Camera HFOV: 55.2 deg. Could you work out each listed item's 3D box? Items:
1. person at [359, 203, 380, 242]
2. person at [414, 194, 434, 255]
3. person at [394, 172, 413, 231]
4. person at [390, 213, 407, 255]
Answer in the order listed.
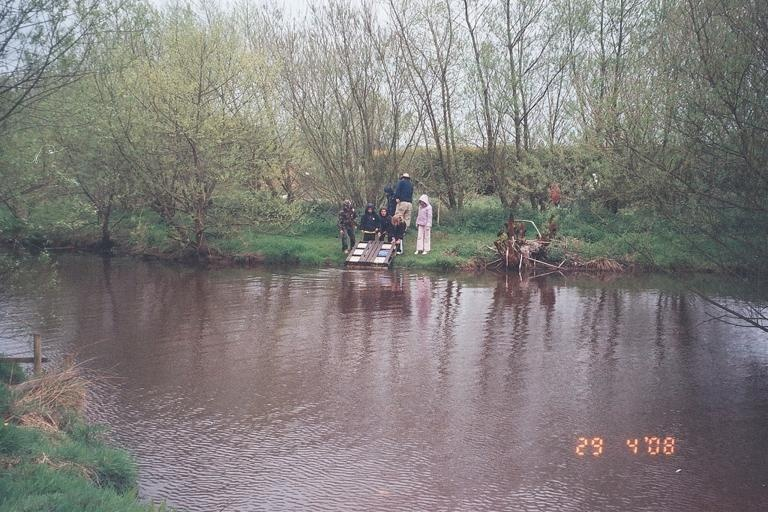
[{"bbox_3d":[-0.530,-1.368,29.651,0.722,1.534,0.935,-3,14,-14],"label":"person"},{"bbox_3d":[1.553,-1.322,29.272,0.608,2.293,1.376,1,13,2],"label":"person"},{"bbox_3d":[0.761,-2.170,29.624,0.761,2.487,0.708,8,-3,-33],"label":"person"},{"bbox_3d":[0.563,-0.867,29.117,0.635,1.620,1.343,0,14,0],"label":"person"}]
